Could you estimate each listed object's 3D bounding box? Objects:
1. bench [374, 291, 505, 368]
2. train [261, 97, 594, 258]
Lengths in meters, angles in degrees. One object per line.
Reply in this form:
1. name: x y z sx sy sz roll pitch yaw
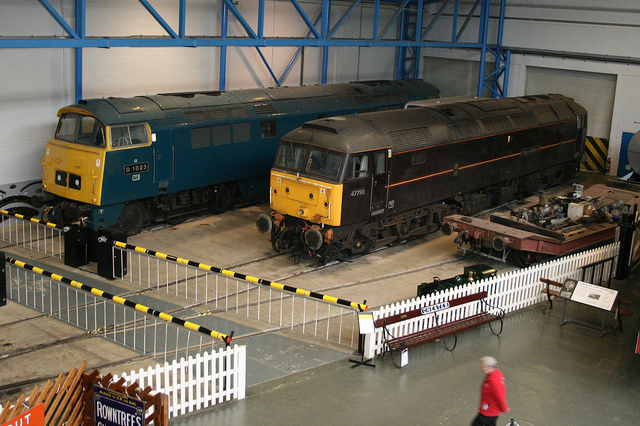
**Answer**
1. bench: 3.249 2.950 14.353 3.712 1.009 1.008 -8 14 -35
2. train: 3.919 -2.326 23.333 21.548 5.761 4.772 -10 14 -41
